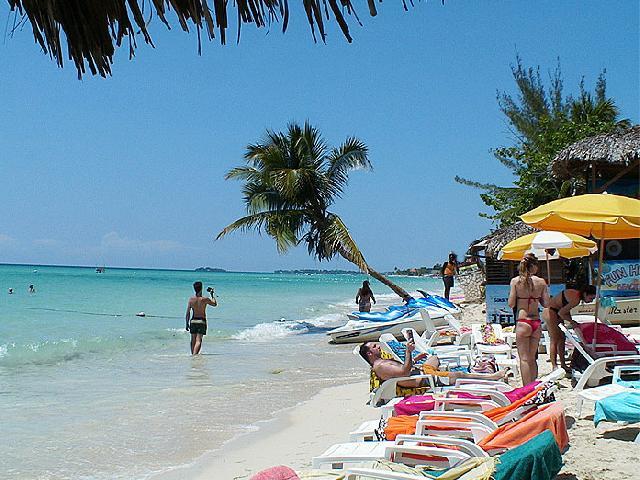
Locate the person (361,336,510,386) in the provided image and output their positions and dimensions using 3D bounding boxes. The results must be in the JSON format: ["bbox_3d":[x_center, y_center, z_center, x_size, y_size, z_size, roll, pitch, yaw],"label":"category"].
[{"bbox_3d":[1.513,1.731,7.041,1.712,0.690,0.894,-2,0,3],"label":"person"}]

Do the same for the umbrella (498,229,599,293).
[{"bbox_3d":[4.802,0.163,10.486,1.692,1.160,1.809,-3,-2,27],"label":"umbrella"}]

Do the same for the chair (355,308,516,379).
[{"bbox_3d":[1.498,1.482,7.109,1.727,0.627,0.950,-1,2,7],"label":"chair"}]
